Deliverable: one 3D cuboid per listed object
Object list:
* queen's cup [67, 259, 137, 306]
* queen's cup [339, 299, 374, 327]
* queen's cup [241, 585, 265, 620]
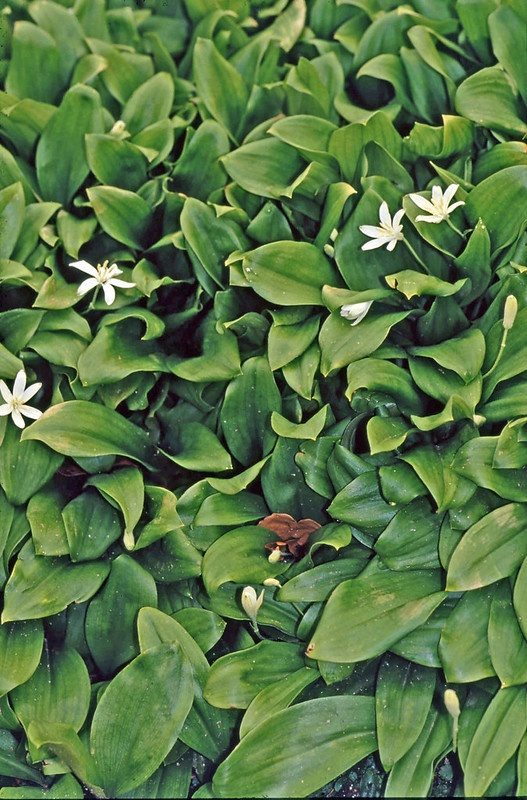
[{"bbox_3d":[-0.604,-0.452,2.673,0.225,0.236,0.108,12,23,2],"label":"queen's cup"},{"bbox_3d":[0.323,-0.315,2.532,0.050,0.104,0.088,-16,70,-5],"label":"queen's cup"},{"bbox_3d":[-0.040,0.686,2.381,0.069,0.168,0.099,-10,44,-11],"label":"queen's cup"}]
